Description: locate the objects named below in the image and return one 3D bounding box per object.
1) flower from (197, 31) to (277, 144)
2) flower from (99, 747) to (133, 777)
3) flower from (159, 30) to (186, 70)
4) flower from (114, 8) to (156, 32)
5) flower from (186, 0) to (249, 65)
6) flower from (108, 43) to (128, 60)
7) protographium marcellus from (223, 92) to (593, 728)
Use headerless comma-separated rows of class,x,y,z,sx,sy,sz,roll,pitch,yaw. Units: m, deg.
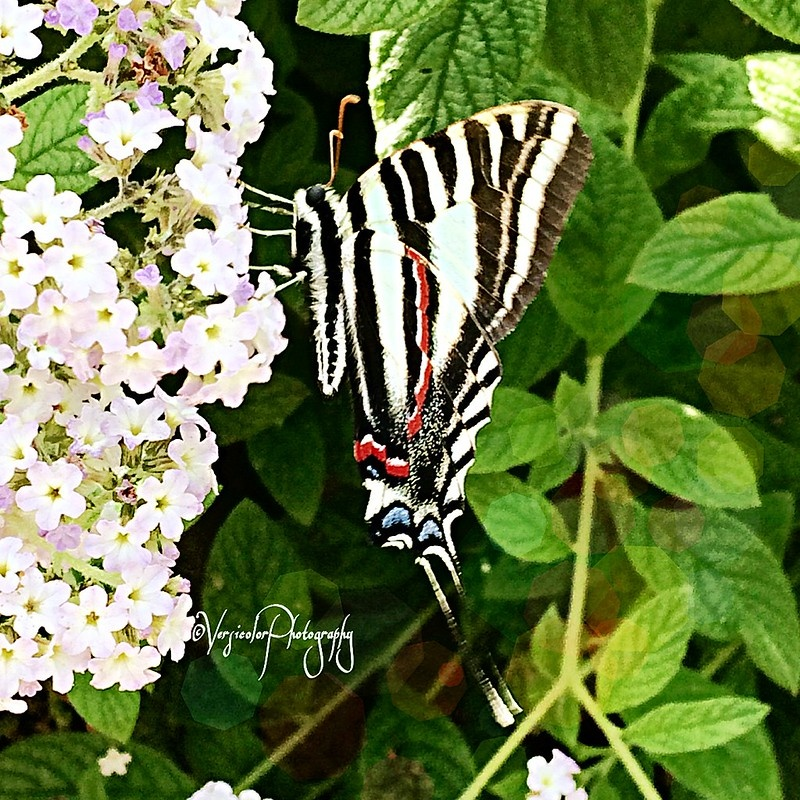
flower,-0.160,-0.318,1.392,0.029,0.095,0.091,7,51,36
flower,-0.406,0.520,1.909,0.049,0.037,0.018,-1,27,0
flower,-0.227,-0.350,1.353,0.030,0.036,0.016,-13,29,-22
flower,-0.265,-0.377,1.337,0.034,0.023,0.010,-6,27,-10
flower,-0.184,-0.377,1.376,0.056,0.060,0.044,-7,27,-12
flower,-0.282,-0.346,1.337,0.013,0.017,0.008,2,-3,11
protographium marcellus,0.116,-0.061,1.759,0.260,0.556,0.498,-21,14,-36
